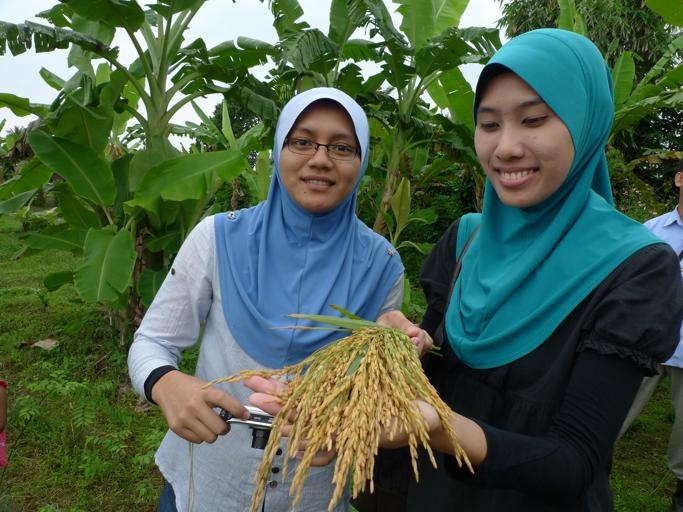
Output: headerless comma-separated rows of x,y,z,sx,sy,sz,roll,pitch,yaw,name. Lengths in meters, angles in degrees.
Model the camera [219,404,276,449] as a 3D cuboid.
-0.363,0.619,1.674,0.229,0.087,0.118,17,-30,-8,camera
